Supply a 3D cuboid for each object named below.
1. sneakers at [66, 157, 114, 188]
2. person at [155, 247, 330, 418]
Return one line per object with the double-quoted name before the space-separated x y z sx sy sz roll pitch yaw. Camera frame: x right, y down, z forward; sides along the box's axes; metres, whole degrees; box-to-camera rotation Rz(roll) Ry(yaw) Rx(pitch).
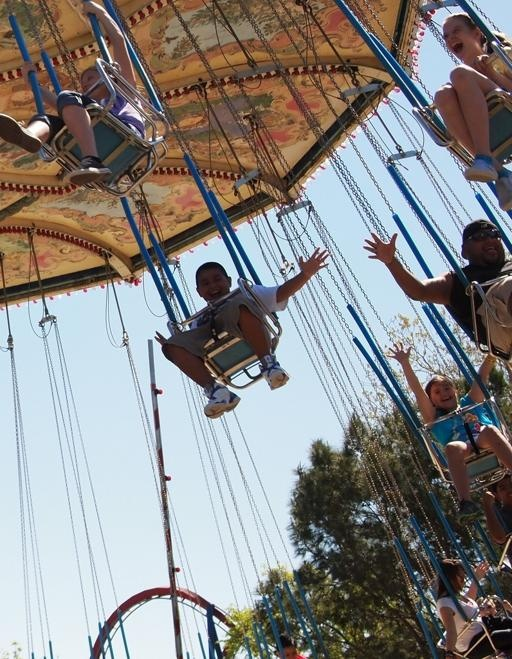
"sneakers" -0.872 -0.819 3.561 0.251 0.152 0.115 -14 -46 10
"person" -0.145 -0.017 3.853 1.246 0.888 0.439 -36 -67 11
